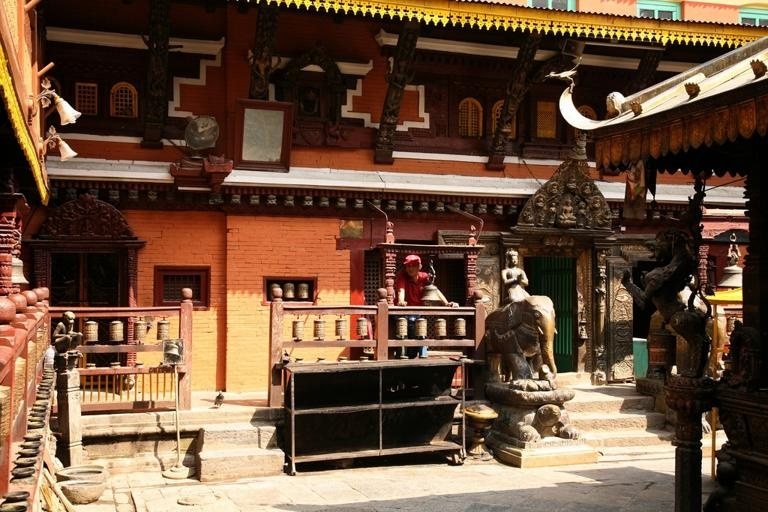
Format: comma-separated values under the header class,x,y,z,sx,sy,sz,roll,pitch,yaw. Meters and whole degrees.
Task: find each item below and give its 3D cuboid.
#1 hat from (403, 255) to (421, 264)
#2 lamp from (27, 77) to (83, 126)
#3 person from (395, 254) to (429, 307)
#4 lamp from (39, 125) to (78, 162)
class,x,y,z,sx,sy,sz,roll,pitch,yaw
hat,0.500,0.063,18.129,0.279,0.165,0.343,0,13,-1
lamp,-5.086,-2.271,15.178,0.531,0.744,0.475,-14,-12,-5
person,0.514,0.561,18.100,0.789,1.058,1.268,-1,2,7
lamp,-5.340,-1.848,16.046,0.526,0.302,0.640,-18,-38,-23
